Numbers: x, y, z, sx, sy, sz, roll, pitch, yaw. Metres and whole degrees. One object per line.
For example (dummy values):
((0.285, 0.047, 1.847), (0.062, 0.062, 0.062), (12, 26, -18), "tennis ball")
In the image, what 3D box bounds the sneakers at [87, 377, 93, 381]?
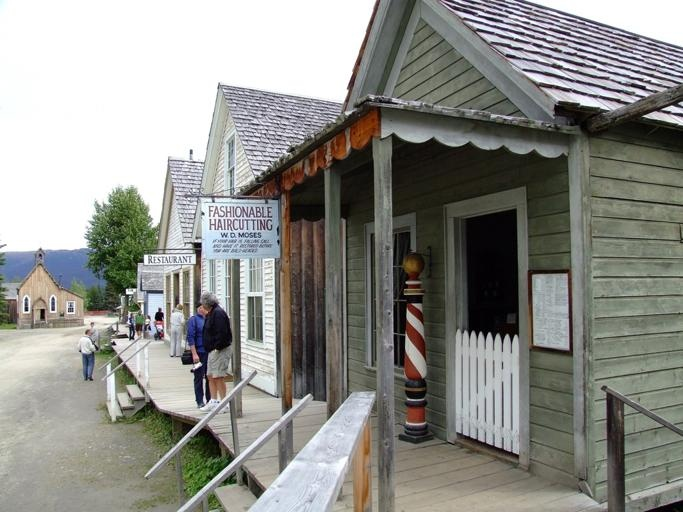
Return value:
((-8.035, 3.924, 18.126), (0.132, 0.115, 0.052), (2, -1, -15), "sneakers")

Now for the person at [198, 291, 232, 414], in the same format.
((-2.043, 1.562, 9.228), (0.437, 1.951, 0.726), (0, -2, -34), "person")

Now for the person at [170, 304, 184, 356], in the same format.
((-5.574, 2.514, 19.252), (0.392, 1.639, 1.359), (-1, -2, -15), "person")
